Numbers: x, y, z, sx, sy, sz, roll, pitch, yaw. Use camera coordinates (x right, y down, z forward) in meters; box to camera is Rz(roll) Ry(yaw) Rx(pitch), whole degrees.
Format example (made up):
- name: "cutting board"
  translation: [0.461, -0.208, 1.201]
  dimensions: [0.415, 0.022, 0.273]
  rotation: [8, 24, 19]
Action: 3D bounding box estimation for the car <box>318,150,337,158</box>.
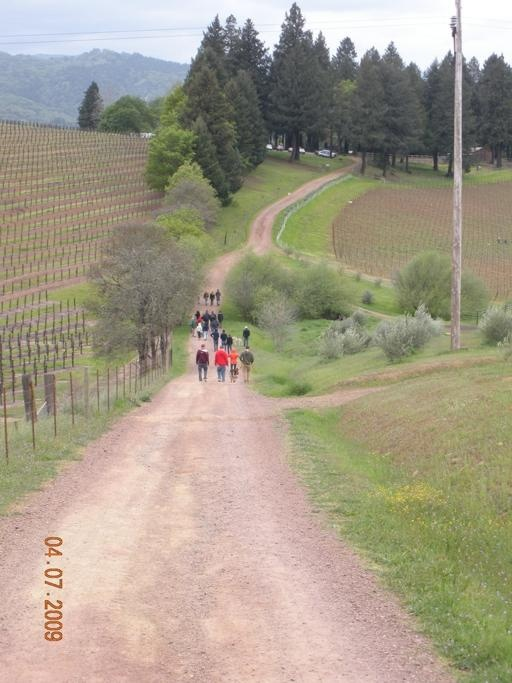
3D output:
- name: "car"
  translation: [10.431, -27.601, 154.700]
  dimensions: [2.028, 1.408, 2.965]
  rotation: [3, 8, 19]
